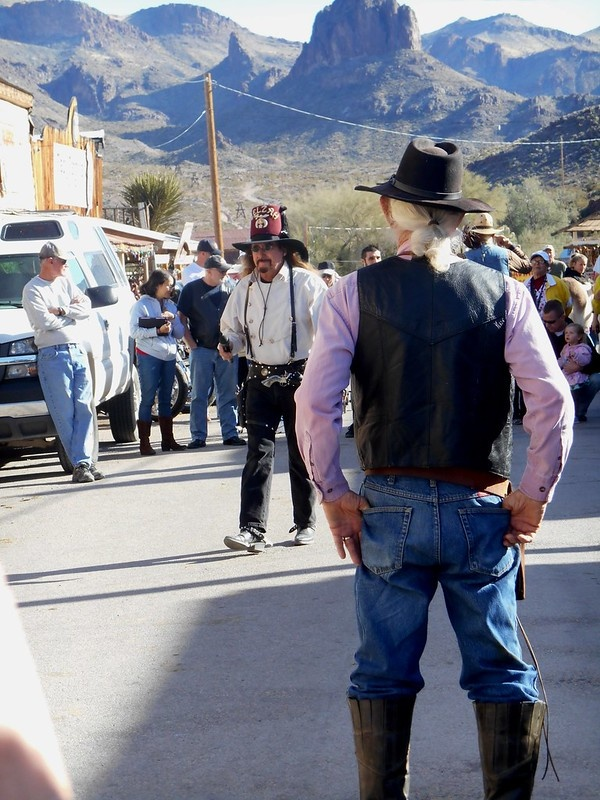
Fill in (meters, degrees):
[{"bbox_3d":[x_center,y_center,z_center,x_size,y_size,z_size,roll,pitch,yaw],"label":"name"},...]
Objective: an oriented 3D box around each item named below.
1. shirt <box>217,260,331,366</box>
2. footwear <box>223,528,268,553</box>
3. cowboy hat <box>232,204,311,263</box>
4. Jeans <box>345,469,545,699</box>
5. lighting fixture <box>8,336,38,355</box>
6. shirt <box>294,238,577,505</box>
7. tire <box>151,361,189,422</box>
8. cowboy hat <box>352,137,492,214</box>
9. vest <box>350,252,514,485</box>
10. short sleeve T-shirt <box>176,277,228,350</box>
[{"bbox_3d":[-0.139,-0.627,5.966,0.968,0.726,0.431,3,13,30],"label":"shirt"},{"bbox_3d":[-0.340,0.936,5.635,0.333,0.142,0.121,13,-14,-30],"label":"footwear"},{"bbox_3d":[-0.181,-1.198,5.972,0.482,0.281,0.561,3,3,33],"label":"cowboy hat"},{"bbox_3d":[0.365,0.497,2.256,0.479,0.579,0.295,-3,7,10],"label":"Jeans"},{"bbox_3d":[-2.652,-0.507,8.131,0.236,0.157,0.090,-3,-23,-8],"label":"lighting fixture"},{"bbox_3d":[0.398,-0.020,2.462,0.821,0.633,0.273,3,1,24],"label":"shirt"},{"bbox_3d":[-1.662,-0.123,11.506,0.800,0.701,0.740,-2,-4,3],"label":"tire"},{"bbox_3d":[0.333,-0.657,2.561,0.299,0.126,0.323,-1,11,-28],"label":"cowboy hat"},{"bbox_3d":[0.354,-0.093,2.477,0.495,0.594,0.348,1,-6,-10],"label":"vest"},{"bbox_3d":[-1.102,-1.062,10.173,0.808,0.810,0.441,-17,38,-29],"label":"short sleeve T-shirt"}]
